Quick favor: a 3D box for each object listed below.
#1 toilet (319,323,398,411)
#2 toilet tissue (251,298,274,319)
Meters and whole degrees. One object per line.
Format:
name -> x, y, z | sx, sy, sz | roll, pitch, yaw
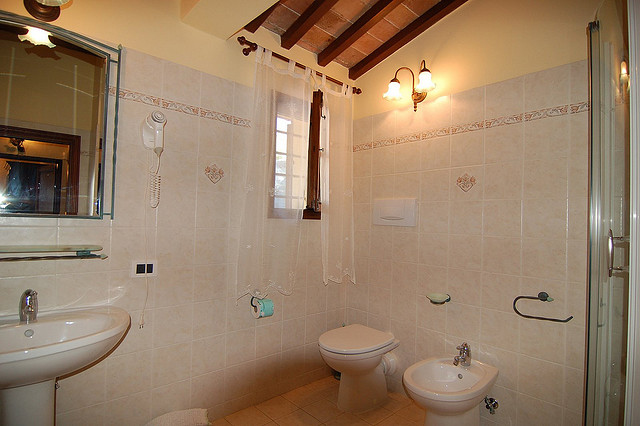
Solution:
toilet -> 0.278, 1.271, 3.657 | 0.674, 0.604, 0.510 | 2, -1, -40
toilet tissue -> -0.453, 0.729, 3.491 | 0.138, 0.166, 0.185 | 2, -1, 41
